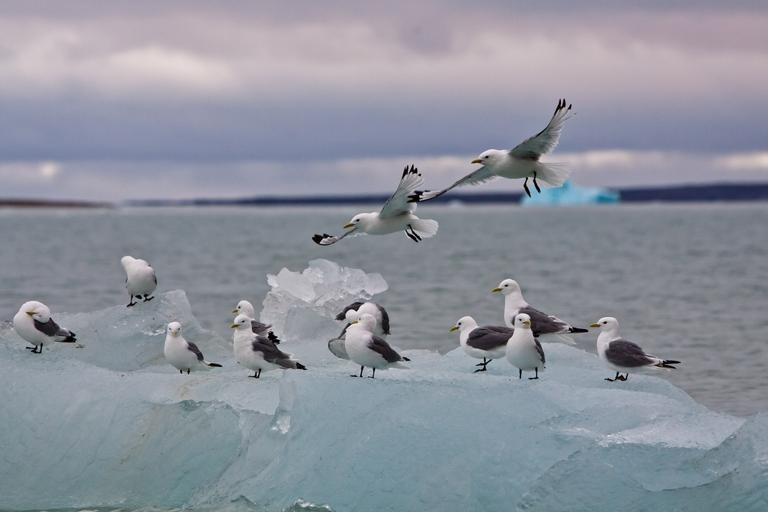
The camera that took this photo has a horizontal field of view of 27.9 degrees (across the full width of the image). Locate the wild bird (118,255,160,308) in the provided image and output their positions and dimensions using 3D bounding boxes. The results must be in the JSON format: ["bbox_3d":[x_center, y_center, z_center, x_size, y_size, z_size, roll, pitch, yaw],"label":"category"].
[{"bbox_3d":[-6.139,0.737,38.820,0.766,1.256,0.962,-2,12,-11],"label":"wild bird"}]

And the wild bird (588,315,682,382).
[{"bbox_3d":[5.610,2.183,35.875,1.629,1.270,0.501,5,14,21],"label":"wild bird"}]

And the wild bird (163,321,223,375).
[{"bbox_3d":[-4.566,2.234,36.230,1.124,1.335,0.647,-1,13,-6],"label":"wild bird"}]

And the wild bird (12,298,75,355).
[{"bbox_3d":[-8.123,1.779,36.969,1.370,1.275,0.539,-2,14,-12],"label":"wild bird"}]
